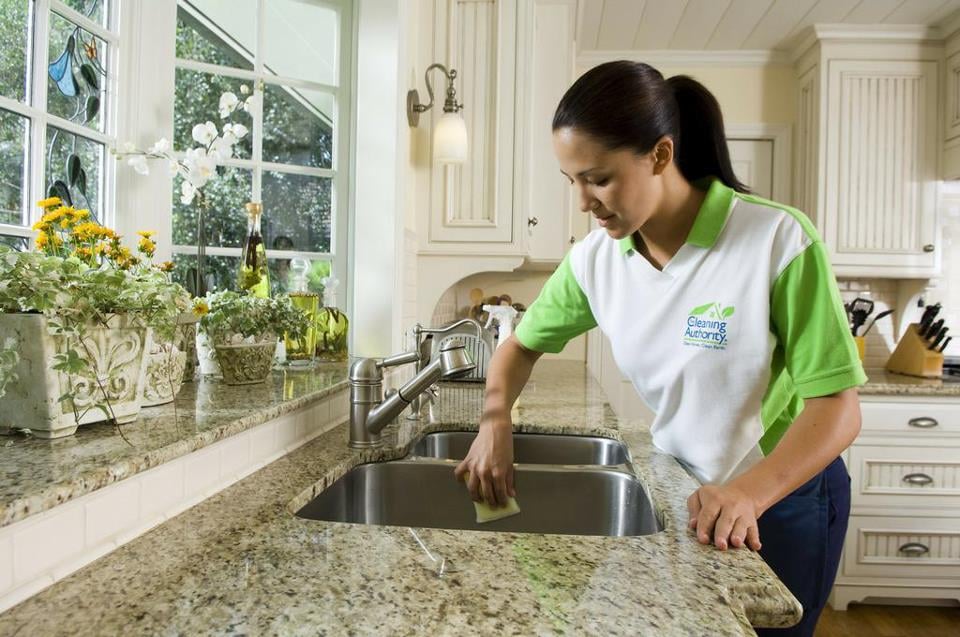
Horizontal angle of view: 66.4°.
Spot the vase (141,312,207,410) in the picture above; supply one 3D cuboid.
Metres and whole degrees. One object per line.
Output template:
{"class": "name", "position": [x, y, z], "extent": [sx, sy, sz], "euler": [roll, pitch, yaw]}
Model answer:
{"class": "vase", "position": [-0.735, 0.102, 1.816], "extent": [0.181, 0.228, 0.222], "euler": [-1, 2, 2]}

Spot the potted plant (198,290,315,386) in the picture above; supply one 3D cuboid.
{"class": "potted plant", "position": [-0.601, 0.064, 2.017], "extent": [0.283, 0.223, 0.238], "euler": [-1, -8, -3]}

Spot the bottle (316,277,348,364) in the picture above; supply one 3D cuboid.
{"class": "bottle", "position": [-0.521, 0.001, 2.604], "extent": [0.102, 0.278, 0.224], "euler": [-1, 4, -9]}

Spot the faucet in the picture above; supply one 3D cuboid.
{"class": "faucet", "position": [-0.171, 0.197, 1.803], "extent": [0.375, 0.254, 0.102], "euler": [-6, -10, 36]}

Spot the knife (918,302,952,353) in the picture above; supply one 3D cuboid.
{"class": "knife", "position": [2.178, 0.033, 3.562], "extent": [0.080, 0.260, 0.169], "euler": [-3, -27, 25]}

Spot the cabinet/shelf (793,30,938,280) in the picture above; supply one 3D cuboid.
{"class": "cabinet/shelf", "position": [1.968, -0.894, 3.869], "extent": [0.522, 0.989, 0.441], "euler": [1, 22, 17]}

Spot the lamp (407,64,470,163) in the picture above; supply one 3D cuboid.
{"class": "lamp", "position": [-0.157, -0.811, 2.885], "extent": [0.212, 0.380, 0.145], "euler": [1, 0, 9]}
